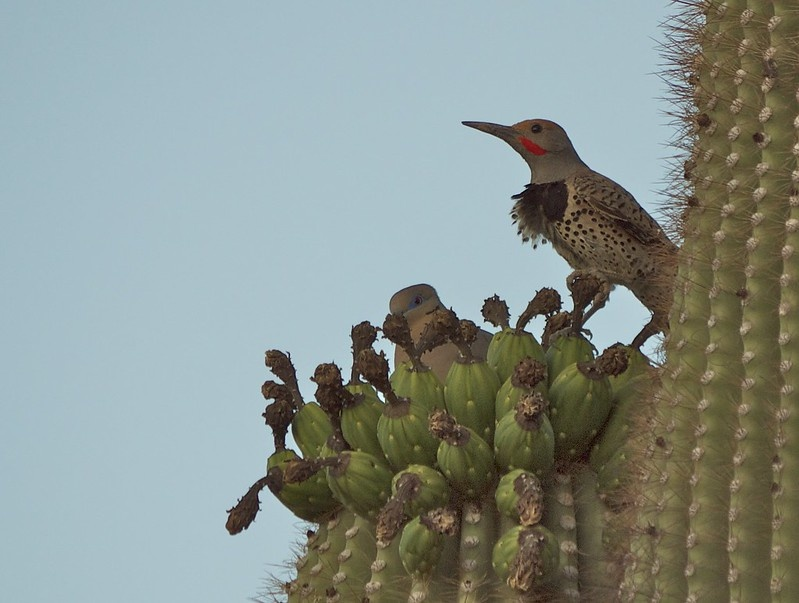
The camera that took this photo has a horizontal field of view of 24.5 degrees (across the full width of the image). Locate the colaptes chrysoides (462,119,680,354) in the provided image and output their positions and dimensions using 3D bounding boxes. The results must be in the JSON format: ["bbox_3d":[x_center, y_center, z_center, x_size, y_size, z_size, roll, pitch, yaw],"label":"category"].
[{"bbox_3d":[1.009,-0.390,8.683,1.221,0.432,0.870,3,-97,-22],"label":"colaptes chrysoides"}]
